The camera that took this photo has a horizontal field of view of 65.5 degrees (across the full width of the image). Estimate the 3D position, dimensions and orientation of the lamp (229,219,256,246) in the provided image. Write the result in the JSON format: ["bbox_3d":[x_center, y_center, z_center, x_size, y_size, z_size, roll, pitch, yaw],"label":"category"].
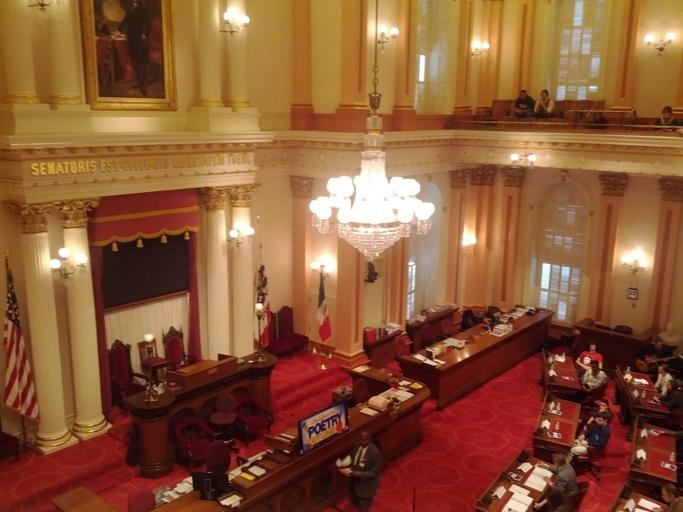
[{"bbox_3d":[-2.286,-0.566,12.026,0.681,0.699,0.503,-2,6,-30],"label":"lamp"}]

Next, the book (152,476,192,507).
[{"bbox_3d":[-2.551,3.569,8.239,0.475,0.123,0.481,3,9,42],"label":"book"}]

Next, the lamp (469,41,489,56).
[{"bbox_3d":[3.972,-6.016,15.227,0.318,0.480,0.745,6,15,34],"label":"lamp"}]

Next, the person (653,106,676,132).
[{"bbox_3d":[7.837,-3.373,12.825,0.404,0.648,1.448,4,14,29],"label":"person"}]

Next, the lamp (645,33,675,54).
[{"bbox_3d":[8.103,-5.485,13.559,0.680,0.516,0.178,3,14,25],"label":"lamp"}]

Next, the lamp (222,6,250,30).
[{"bbox_3d":[-2.188,-4.922,10.918,0.613,0.577,0.361,-3,19,-7],"label":"lamp"}]

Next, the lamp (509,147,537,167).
[{"bbox_3d":[4.768,-2.632,13.996,0.204,0.403,0.752,-13,16,-37],"label":"lamp"}]

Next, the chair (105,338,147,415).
[{"bbox_3d":[-4.221,2.349,10.638,0.671,1.334,0.593,6,16,36],"label":"chair"}]

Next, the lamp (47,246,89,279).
[{"bbox_3d":[-4.851,0.122,9.490,0.557,0.514,0.616,-1,1,-16],"label":"lamp"}]

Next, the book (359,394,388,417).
[{"bbox_3d":[0.632,2.783,9.846,0.261,0.103,0.372,6,15,32],"label":"book"}]

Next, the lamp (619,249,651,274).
[{"bbox_3d":[7.769,0.116,14.008,0.216,0.647,0.680,0,0,-38],"label":"lamp"}]

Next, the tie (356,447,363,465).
[{"bbox_3d":[0.313,3.211,8.507,0.096,0.272,0.063,-3,13,2],"label":"tie"}]

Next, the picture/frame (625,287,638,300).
[{"bbox_3d":[7.745,0.999,14.183,0.318,0.304,0.302,1,7,37],"label":"picture/frame"}]

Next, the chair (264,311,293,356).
[{"bbox_3d":[-1.534,1.909,13.370,0.594,1.098,1.315,-3,12,0],"label":"chair"}]

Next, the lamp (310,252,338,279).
[{"bbox_3d":[-0.450,0.215,13.180,0.594,0.535,0.290,12,2,23],"label":"lamp"}]
